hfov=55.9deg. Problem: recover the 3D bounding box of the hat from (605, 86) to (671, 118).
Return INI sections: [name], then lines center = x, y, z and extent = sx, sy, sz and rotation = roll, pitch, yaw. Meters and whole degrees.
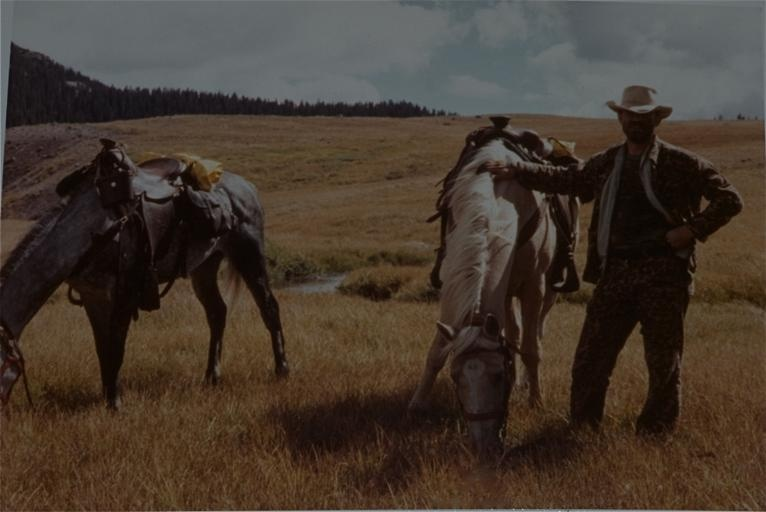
[hat]
center = 2.588, -1.508, 7.096
extent = 0.501, 0.305, 0.312
rotation = 5, 15, 15
